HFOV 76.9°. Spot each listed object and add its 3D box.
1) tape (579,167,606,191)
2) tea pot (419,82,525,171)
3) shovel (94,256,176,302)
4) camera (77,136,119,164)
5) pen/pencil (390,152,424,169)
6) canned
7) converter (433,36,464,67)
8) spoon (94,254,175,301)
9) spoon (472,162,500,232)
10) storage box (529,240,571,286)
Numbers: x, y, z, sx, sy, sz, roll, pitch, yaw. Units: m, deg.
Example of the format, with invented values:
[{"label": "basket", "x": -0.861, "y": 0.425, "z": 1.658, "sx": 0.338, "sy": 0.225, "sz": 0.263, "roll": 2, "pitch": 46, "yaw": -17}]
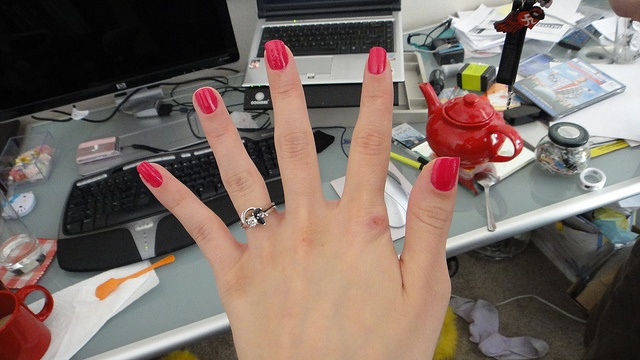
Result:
[{"label": "tape", "x": 0.907, "y": 0.005, "z": 1.334, "sx": 0.077, "sy": 0.043, "sz": 0.074, "roll": 18, "pitch": 61, "yaw": 23}, {"label": "tea pot", "x": 0.478, "y": -0.165, "z": 1.327, "sx": 0.302, "sy": 0.176, "sz": 0.212, "roll": 32, "pitch": 59, "yaw": 29}, {"label": "shovel", "x": -0.582, "y": 0.308, "z": 1.236, "sx": 0.221, "sy": 0.028, "sz": 0.042, "roll": -25, "pitch": 74, "yaw": -10}, {"label": "camera", "x": -0.818, "y": -0.106, "z": 1.485, "sx": 0.136, "sy": 0.030, "sz": 0.091, "roll": -12, "pitch": 46, "yaw": -5}, {"label": "pen/pencil", "x": 0.302, "y": -0.065, "z": 1.385, "sx": 0.106, "sy": 0.017, "sz": 0.020, "roll": 25, "pitch": 25, "yaw": 12}, {"label": "canned", "x": 0.786, "y": -0.099, "z": 1.352, "sx": 0.172, "sy": 0.150, "sz": 0.168, "roll": 20, "pitch": 48, "yaw": 20}, {"label": "converter", "x": 0.525, "y": -0.532, "z": 1.665, "sx": 0.136, "sy": 0.078, "sz": 0.128, "roll": -2, "pitch": 43, "yaw": -1}, {"label": "spoon", "x": -0.583, "y": 0.303, "z": 1.237, "sx": 0.228, "sy": 0.029, "sz": 0.043, "roll": -26, "pitch": 74, "yaw": -9}, {"label": "spoon", "x": 0.539, "y": 0.051, "z": 1.302, "sx": 0.060, "sy": 0.033, "sz": 0.229, "roll": 8, "pitch": 63, "yaw": -7}, {"label": "storage box", "x": 1.104, "y": 0.402, "z": 1.912, "sx": 0.038, "sy": 0.126, "sz": 0.218, "roll": -16, "pitch": 44, "yaw": -10}]
